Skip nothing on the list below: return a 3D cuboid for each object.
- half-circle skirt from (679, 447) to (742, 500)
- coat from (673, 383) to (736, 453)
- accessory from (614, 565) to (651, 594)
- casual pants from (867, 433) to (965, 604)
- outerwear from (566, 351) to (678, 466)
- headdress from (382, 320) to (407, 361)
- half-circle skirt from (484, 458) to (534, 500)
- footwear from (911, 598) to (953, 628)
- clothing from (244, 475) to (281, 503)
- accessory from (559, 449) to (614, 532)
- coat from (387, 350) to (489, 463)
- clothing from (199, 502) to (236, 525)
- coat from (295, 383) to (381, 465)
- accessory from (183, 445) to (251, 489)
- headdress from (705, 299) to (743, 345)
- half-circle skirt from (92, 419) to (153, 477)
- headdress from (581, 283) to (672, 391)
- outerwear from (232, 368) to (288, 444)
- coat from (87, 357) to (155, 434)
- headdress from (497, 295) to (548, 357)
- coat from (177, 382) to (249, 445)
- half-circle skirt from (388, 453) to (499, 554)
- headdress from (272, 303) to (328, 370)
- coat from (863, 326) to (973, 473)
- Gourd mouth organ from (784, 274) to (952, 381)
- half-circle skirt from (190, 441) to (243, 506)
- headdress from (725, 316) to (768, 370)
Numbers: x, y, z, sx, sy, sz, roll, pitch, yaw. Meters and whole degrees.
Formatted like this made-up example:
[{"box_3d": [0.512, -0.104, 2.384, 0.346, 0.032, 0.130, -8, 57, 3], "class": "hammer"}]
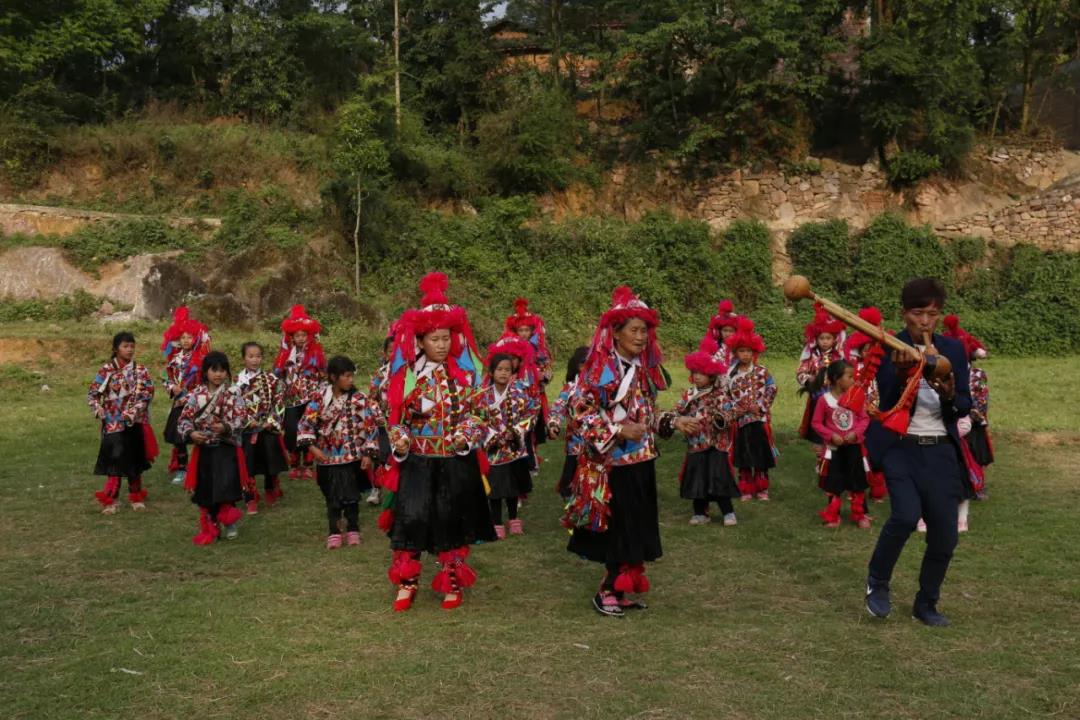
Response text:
[{"box_3d": [2.746, 1.909, 19.552, 1.264, 1.180, 0.785, -1, -11, 4], "class": "half-circle skirt"}, {"box_3d": [2.732, 0.916, 19.373, 1.359, 1.451, 1.065, -1, -2, 2], "class": "coat"}, {"box_3d": [1.326, 3.243, 17.348, 0.444, 0.222, 0.498, 3, 4, -3], "class": "accessory"}, {"box_3d": [5.449, 2.288, 17.036, 1.259, 2.427, 0.361, 1, 3, 13], "class": "casual pants"}, {"box_3d": [1.221, 0.620, 17.690, 1.112, 1.690, 1.789, 16, 16, 42], "class": "outerwear"}, {"box_3d": [-2.353, -0.325, 18.750, 0.600, 0.689, 0.254, -1, 31, -5], "class": "headdress"}, {"box_3d": [-0.538, 1.920, 19.317, 1.001, 0.861, 0.578, 0, -8, -18], "class": "half-circle skirt"}, {"box_3d": [5.664, 3.662, 17.105, 0.547, 0.358, 0.273, 1, 6, 34], "class": "footwear"}, {"box_3d": [-4.815, 2.170, 20.167, 0.513, 0.557, 0.487, -4, -2, 44], "class": "clothing"}, {"box_3d": [0.713, 1.905, 17.288, 0.642, 1.181, 0.187, 2, 4, 28], "class": "accessory"}, {"box_3d": [-1.518, 0.826, 18.034, 2.008, 1.776, 1.276, 2, -6, -13], "class": "coat"}, {"box_3d": [-5.120, 2.465, 18.843, 0.439, 0.204, 0.368, 11, 7, 5], "class": "clothing"}, {"box_3d": [-3.214, 0.971, 19.085, 1.424, 1.212, 0.695, 2, 14, 13], "class": "coat"}, {"box_3d": [-5.176, 1.709, 18.897, 0.824, 0.823, 0.355, 1, -11, -14], "class": "accessory"}, {"box_3d": [3.221, -0.725, 20.895, 0.707, 0.737, 0.401, 8, 4, -35], "class": "headdress"}, {"box_3d": [-6.953, 1.469, 19.705, 1.002, 0.903, 0.555, 10, -15, -23], "class": "half-circle skirt"}, {"box_3d": [1.245, -0.275, 17.718, 1.481, 1.507, 0.823, -5, 7, -23], "class": "headdress"}, {"box_3d": [-4.656, 0.696, 19.807, 0.906, 1.119, 0.454, 2, -15, -30], "class": "outerwear"}, {"box_3d": [-7.109, 0.566, 20.020, 1.314, 1.461, 1.143, 2, 1, -38], "class": "coat"}, {"box_3d": [-0.381, -0.554, 21.213, 0.840, 1.073, 0.550, -8, -33, 25], "class": "headdress"}, {"box_3d": [-5.301, 0.827, 19.129, 1.132, 1.037, 0.691, -3, -1, 8], "class": "coat"}, {"box_3d": [-1.565, 2.074, 17.735, 1.787, 1.496, 0.898, 2, -8, -23], "class": "half-circle skirt"}, {"box_3d": [-4.228, -0.395, 20.680, 0.860, 1.099, 0.783, 0, -1, 5], "class": "headdress"}, {"box_3d": [5.849, 0.613, 17.789, 1.868, 2.480, 1.869, 1, -7, 8], "class": "coat"}, {"box_3d": [4.557, -0.495, 16.717, 2.617, 0.434, 0.450, 27, -7, -12], "class": "Gourd mouth organ"}, {"box_3d": [-5.197, 1.803, 18.822, 0.954, 1.043, 0.608, 3, -14, -18], "class": "half-circle skirt"}, {"box_3d": [3.529, -0.364, 19.874, 0.532, 0.691, 0.547, -13, 19, 7], "class": "headdress"}]
